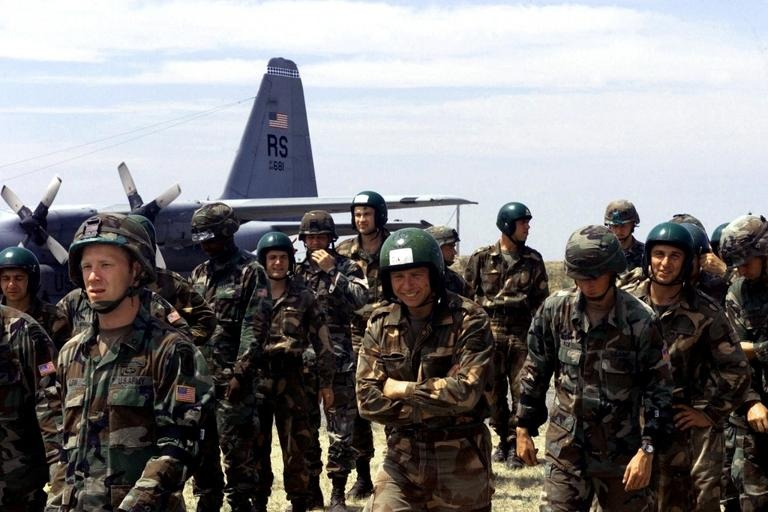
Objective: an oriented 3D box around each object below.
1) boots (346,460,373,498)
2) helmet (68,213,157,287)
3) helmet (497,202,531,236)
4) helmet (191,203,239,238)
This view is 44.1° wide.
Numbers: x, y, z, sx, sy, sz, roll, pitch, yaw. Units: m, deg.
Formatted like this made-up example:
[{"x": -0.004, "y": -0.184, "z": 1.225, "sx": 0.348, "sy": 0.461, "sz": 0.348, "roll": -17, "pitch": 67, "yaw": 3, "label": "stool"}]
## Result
[{"x": -0.306, "y": 2.846, "z": 12.080, "sx": 0.281, "sy": 0.506, "sz": 0.277, "roll": -1, "pitch": -3, "yaw": -2, "label": "boots"}, {"x": -2.074, "y": -0.059, "z": 7.460, "sx": 0.528, "sy": 0.470, "sz": 0.604, "roll": -11, "pitch": -7, "yaw": 5, "label": "helmet"}, {"x": 1.877, "y": -0.580, "z": 13.950, "sx": 0.454, "sy": 0.478, "sz": 0.517, "roll": -17, "pitch": 22, "yaw": -40, "label": "helmet"}, {"x": -1.925, "y": -0.381, "z": 10.801, "sx": 0.583, "sy": 0.455, "sz": 0.456, "roll": -1, "pitch": 0, "yaw": -37, "label": "helmet"}]
